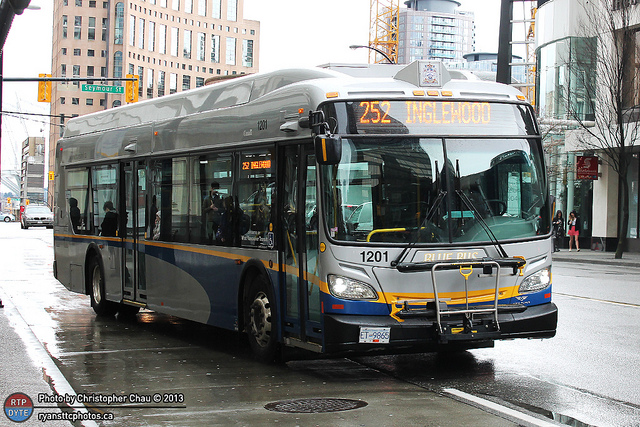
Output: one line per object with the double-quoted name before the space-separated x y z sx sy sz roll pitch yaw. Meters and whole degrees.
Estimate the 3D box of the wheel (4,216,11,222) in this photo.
"wheel" -50.785 0.930 96.170 0.873 0.870 0.288 2 5 7

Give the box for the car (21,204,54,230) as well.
"car" -31.016 0.419 64.965 2.945 2.505 4.525 0 0 -26

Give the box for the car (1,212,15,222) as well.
"car" -54.732 0.557 103.766 4.167 1.418 1.824 -2 -2 31

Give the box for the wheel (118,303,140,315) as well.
"wheel" -4.430 2.218 13.711 0.516 0.135 0.527 6 -11 1

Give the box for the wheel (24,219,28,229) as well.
"wheel" -31.160 1.154 62.756 0.305 0.924 0.690 0 0 -31
